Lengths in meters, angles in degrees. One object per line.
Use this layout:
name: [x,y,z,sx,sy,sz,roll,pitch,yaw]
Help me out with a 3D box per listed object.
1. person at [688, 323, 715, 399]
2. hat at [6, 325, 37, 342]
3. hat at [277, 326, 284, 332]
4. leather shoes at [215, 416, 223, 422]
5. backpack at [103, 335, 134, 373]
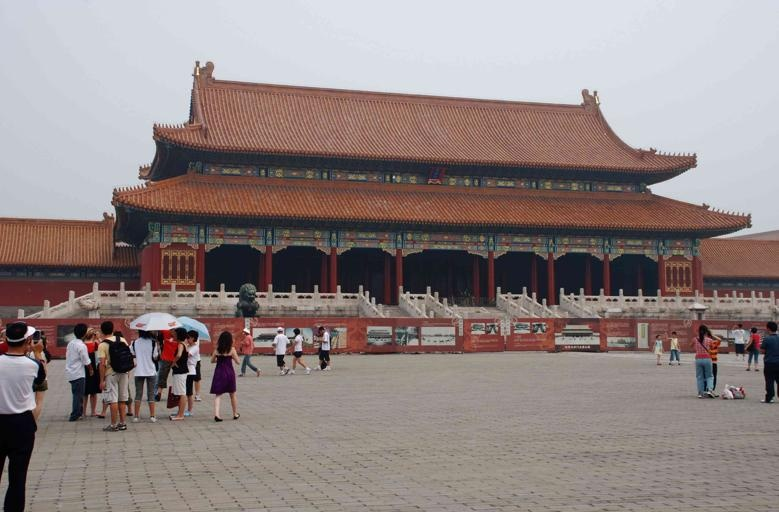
person: [9.801,3.312,36.482,0.605,2.276,0.965,-4,-9,13]
hat: [-9.300,2.067,29.930,0.742,0.243,0.917,4,-27,-21]
hat: [-4.082,2.732,43.154,0.319,0.224,0.232,-5,-6,29]
leather shoes: [-4.876,4.660,33.269,0.215,0.157,0.289,-1,-7,-8]
backpack: [-7.608,2.825,32.953,0.807,1.033,0.457,-3,-8,10]
